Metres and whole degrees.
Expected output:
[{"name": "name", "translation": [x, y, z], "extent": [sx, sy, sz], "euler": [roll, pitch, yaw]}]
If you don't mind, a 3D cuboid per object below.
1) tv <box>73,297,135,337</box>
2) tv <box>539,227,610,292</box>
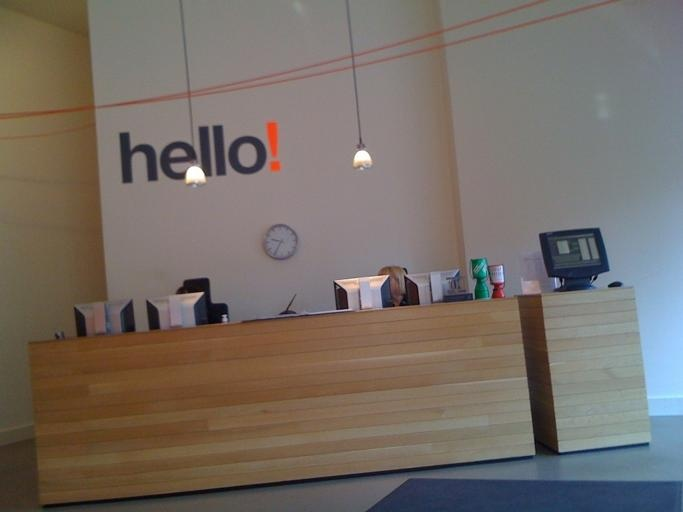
[{"name": "tv", "translation": [-2.253, 0.539, 5.946], "extent": [0.564, 0.330, 0.391], "euler": [-3, 4, -6]}, {"name": "tv", "translation": [2.255, 0.044, 6.027], "extent": [0.559, 0.588, 0.326], "euler": [-7, -1, 4]}]
